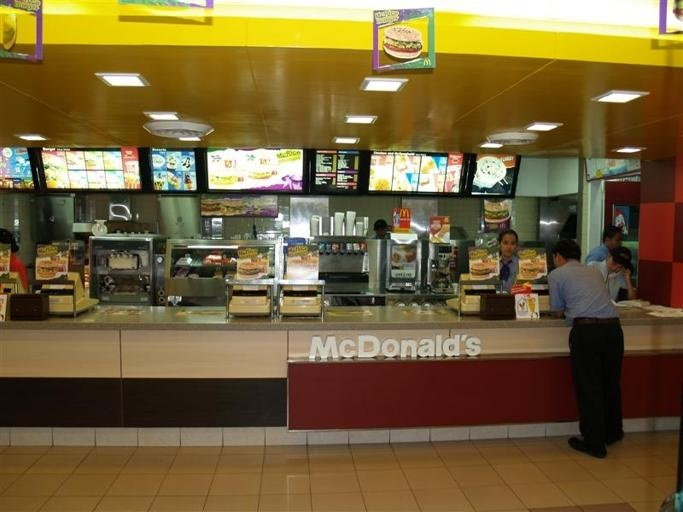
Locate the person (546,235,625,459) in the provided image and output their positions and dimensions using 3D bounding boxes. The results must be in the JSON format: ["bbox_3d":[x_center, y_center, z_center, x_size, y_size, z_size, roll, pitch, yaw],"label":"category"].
[{"bbox_3d":[2.206,0.889,5.466,0.459,1.671,0.512,-7,7,-37],"label":"person"}]

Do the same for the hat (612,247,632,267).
[{"bbox_3d":[2.958,-0.014,6.410,0.174,0.119,0.218,10,31,-19],"label":"hat"}]

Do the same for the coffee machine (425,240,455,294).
[{"bbox_3d":[1.323,0.125,8.018,0.387,0.653,0.392,-2,6,9],"label":"coffee machine"}]

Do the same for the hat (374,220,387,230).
[{"bbox_3d":[0.546,-0.442,8.331,0.163,0.082,0.119,-9,13,-19],"label":"hat"}]
